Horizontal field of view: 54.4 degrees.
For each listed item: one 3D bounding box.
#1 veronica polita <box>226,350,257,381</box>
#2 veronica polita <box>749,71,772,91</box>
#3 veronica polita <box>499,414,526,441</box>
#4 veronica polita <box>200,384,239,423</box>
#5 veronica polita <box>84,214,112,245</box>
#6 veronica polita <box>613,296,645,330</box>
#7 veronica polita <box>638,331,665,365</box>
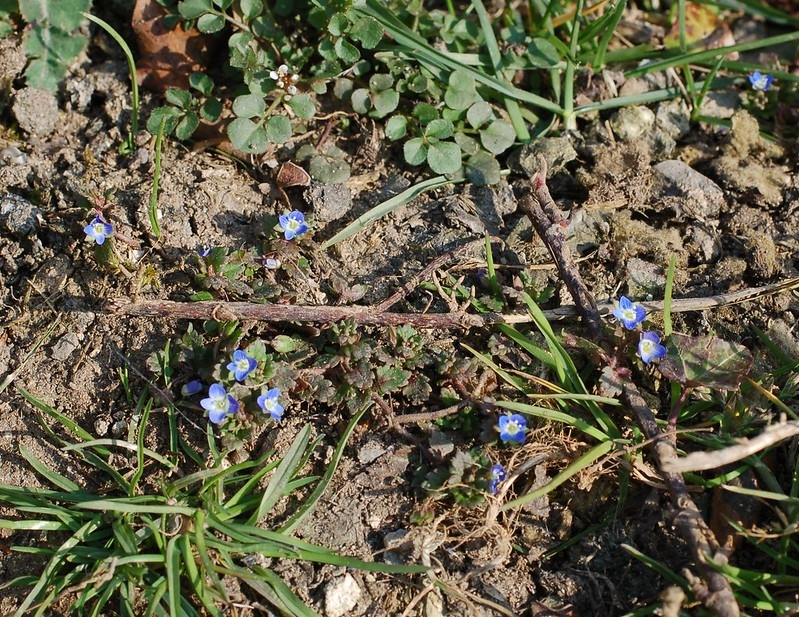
[{"bbox_3d":[-0.632,0.226,3.138,0.116,0.053,0.126,8,88,-15],"label":"veronica polita"},{"bbox_3d":[1.822,-1.158,3.930,0.093,0.050,0.103,-33,66,-15],"label":"veronica polita"},{"bbox_3d":[0.458,0.493,3.177,0.108,0.128,0.108,-2,62,7],"label":"veronica polita"},{"bbox_3d":[-0.722,0.369,3.076,0.118,0.119,0.127,-40,64,-13],"label":"veronica polita"},{"bbox_3d":[-1.272,-0.332,3.306,0.107,0.064,0.131,-5,91,-9],"label":"veronica polita"},{"bbox_3d":[0.951,0.018,3.267,0.134,0.055,0.146,11,69,-6],"label":"veronica polita"},{"bbox_3d":[1.013,0.151,3.155,0.122,0.070,0.123,-15,89,-25],"label":"veronica polita"}]
